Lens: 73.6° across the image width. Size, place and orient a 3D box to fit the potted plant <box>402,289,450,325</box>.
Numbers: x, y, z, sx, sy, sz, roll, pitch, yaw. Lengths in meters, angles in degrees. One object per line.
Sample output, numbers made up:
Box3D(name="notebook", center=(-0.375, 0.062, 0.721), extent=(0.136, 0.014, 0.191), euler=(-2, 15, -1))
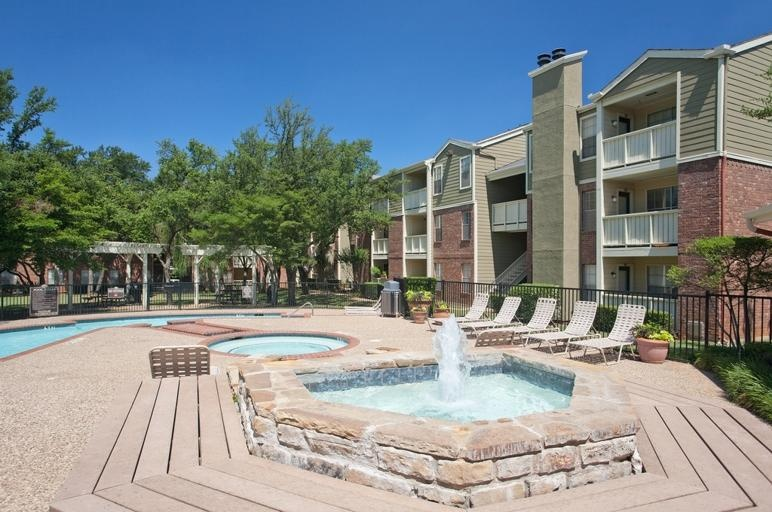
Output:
Box3D(name="potted plant", center=(1.767, 2.333, 23.781), extent=(1.508, 1.117, 1.683), euler=(0, 3, -36))

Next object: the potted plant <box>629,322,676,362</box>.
Box3D(name="potted plant", center=(8.343, 2.765, 16.078), extent=(1.025, 1.162, 0.698), euler=(-2, 7, 7))

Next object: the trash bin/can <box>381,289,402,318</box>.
Box3D(name="trash bin/can", center=(0.079, 2.437, 25.505), extent=(1.230, 1.256, 1.201), euler=(0, -8, -6))
